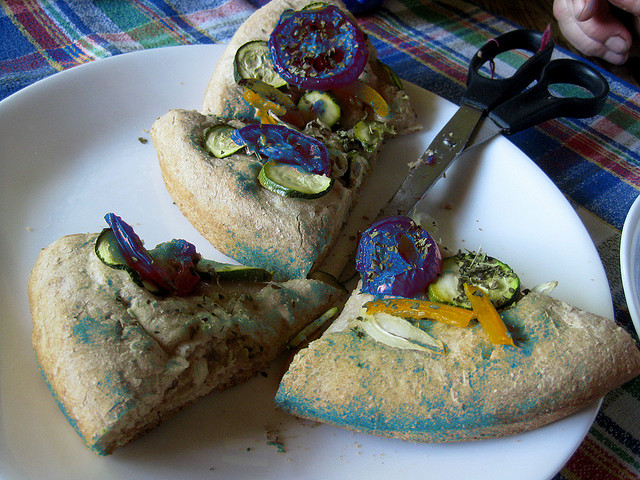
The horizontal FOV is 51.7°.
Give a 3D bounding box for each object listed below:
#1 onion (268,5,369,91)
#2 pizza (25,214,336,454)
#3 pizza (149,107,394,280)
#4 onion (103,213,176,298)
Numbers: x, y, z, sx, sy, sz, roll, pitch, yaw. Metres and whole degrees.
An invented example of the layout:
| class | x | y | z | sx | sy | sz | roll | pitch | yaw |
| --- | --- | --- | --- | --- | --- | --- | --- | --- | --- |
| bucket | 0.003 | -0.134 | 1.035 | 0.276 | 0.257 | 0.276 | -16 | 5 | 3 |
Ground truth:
| class | x | y | z | sx | sy | sz | roll | pitch | yaw |
| --- | --- | --- | --- | --- | --- | --- | --- | --- | --- |
| onion | -0.011 | -0.866 | 3.047 | 0.437 | 0.228 | 0.365 | -6 | 59 | -11 |
| pizza | -0.521 | 0.316 | 2.546 | 0.944 | 0.304 | 0.837 | -19 | 53 | -25 |
| pizza | -0.234 | -0.204 | 2.789 | 0.764 | 0.270 | 0.808 | 16 | 43 | -13 |
| onion | -0.704 | 0.070 | 2.568 | 0.338 | 0.098 | 0.089 | 49 | 61 | 0 |
